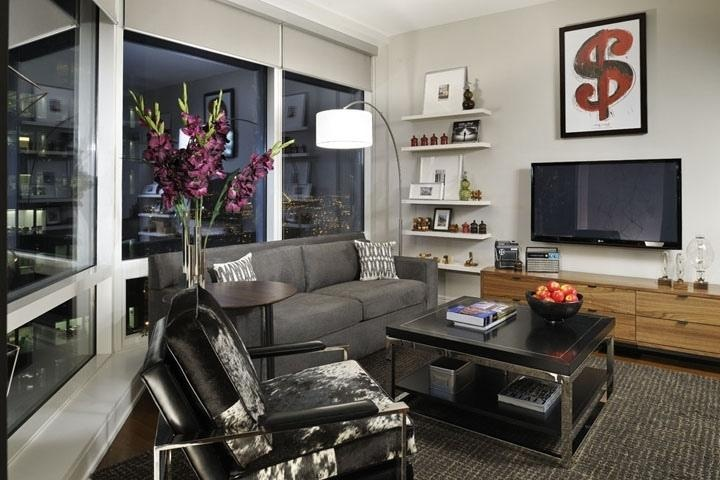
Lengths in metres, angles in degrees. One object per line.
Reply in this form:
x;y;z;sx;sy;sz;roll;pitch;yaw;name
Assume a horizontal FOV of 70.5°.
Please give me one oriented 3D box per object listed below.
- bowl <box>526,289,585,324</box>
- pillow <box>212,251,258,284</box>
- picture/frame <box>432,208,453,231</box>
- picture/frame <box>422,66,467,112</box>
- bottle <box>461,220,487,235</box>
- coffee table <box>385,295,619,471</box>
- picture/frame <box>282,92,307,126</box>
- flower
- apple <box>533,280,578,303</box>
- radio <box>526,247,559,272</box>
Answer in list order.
1.501;0.539;3.909;0.397;0.190;0.417;7;-15;2;bowl
-1.056;0.259;4.361;0.370;0.190;0.344;-5;8;-33;pillow
1.021;-0.243;6.295;0.276;0.358;0.024;0;-9;35;picture/frame
1.052;-1.829;6.225;0.623;0.691;0.051;-2;-8;30;picture/frame
1.354;-0.151;6.096;0.307;0.152;0.195;1;7;21;bottle
1.215;0.925;3.755;1.124;0.612;1.162;4;11;39;coffee table
-0.777;-1.505;5.967;0.438;0.406;0.067;8;10;40;picture/frame
-1.001;-0.353;3.340;0.772;1.031;0.876;4;-3;-36;flower
1.489;0.407;3.853;0.208;0.134;0.198;0;-1;-24;apple
1.966;0.219;5.562;0.404;0.368;0.237;1;2;10;radio
